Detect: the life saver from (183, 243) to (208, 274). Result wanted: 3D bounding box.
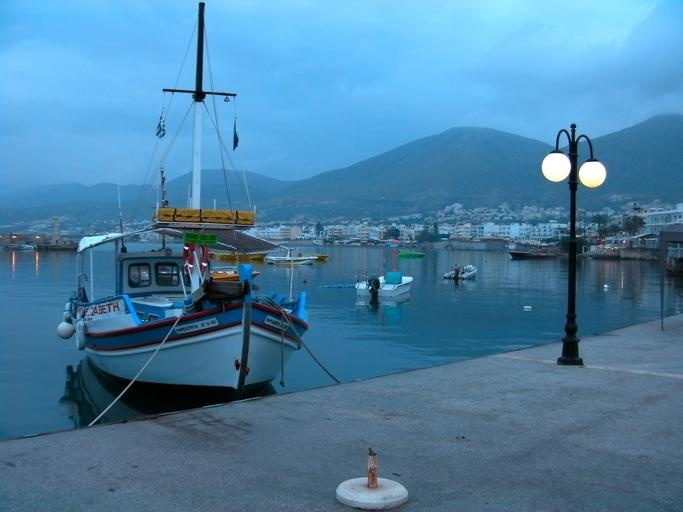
[{"bbox_3d":[-3.728,0.061,17.066,0.601,0.790,0.361,3,-2,-1],"label":"life saver"}]

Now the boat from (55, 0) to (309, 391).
[{"bbox_3d":[-4.083,-1.562,17.260,5.903,10.785,8.539,-3,7,-22],"label":"boat"}]

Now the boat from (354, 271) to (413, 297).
[{"bbox_3d":[3.138,2.079,48.293,2.630,1.670,3.933,3,7,29],"label":"boat"}]
